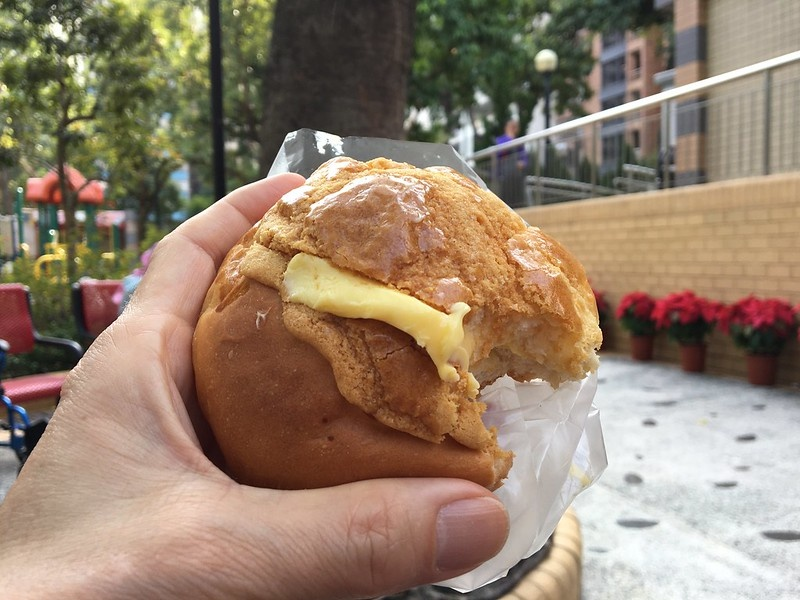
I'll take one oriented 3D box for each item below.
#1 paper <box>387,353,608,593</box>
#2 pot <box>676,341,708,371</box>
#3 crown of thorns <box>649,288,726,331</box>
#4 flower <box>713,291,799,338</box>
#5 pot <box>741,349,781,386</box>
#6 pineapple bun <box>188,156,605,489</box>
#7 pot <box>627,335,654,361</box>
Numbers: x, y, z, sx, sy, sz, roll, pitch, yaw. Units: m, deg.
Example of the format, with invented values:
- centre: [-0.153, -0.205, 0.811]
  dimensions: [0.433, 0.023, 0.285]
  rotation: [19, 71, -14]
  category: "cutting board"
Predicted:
- centre: [0.240, 0.350, 1.415]
  dimensions: [0.419, 0.374, 0.208]
  rotation: [-30, -11, -5]
  category: "paper"
- centre: [0.580, 0.111, 1.380]
  dimensions: [0.050, 0.051, 0.051]
  rotation: [2, -5, 0]
  category: "pot"
- centre: [0.558, 0.018, 1.353]
  dimensions: [0.068, 0.072, 0.114]
  rotation: [-4, 8, -5]
  category: "crown of thorns"
- centre: [0.650, 0.029, 1.264]
  dimensions: [0.124, 0.072, 0.060]
  rotation: [-1, 7, 27]
  category: "flower"
- centre: [0.659, 0.121, 1.269]
  dimensions: [0.049, 0.052, 0.054]
  rotation: [3, -9, 0]
  category: "pot"
- centre: [-0.038, 0.012, 1.494]
  dimensions: [0.804, 0.632, 0.849]
  rotation: [-2, 16, -18]
  category: "pineapple bun"
- centre: [0.521, 0.102, 1.504]
  dimensions: [0.043, 0.054, 0.050]
  rotation: [1, -7, -2]
  category: "pot"
